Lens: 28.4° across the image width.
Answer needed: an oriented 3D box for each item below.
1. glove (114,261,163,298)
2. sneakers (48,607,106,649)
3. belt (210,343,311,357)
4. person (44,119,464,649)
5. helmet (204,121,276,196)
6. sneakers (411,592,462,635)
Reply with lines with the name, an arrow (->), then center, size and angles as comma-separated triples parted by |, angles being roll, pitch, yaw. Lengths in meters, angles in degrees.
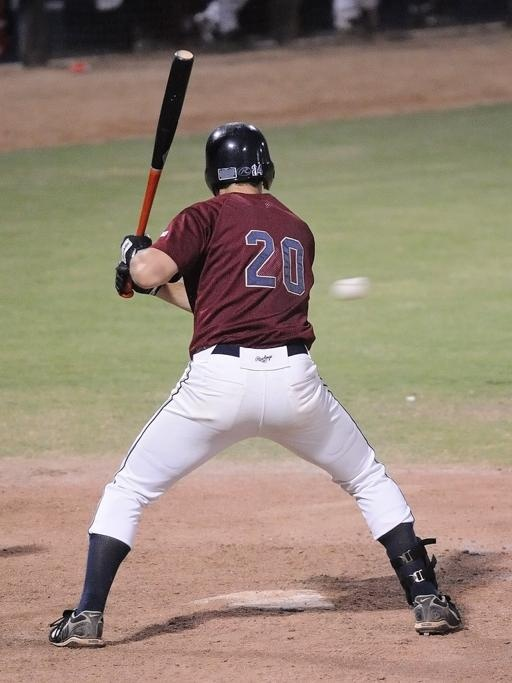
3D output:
glove -> -0.378, -0.191, 3.215 | 0.126, 0.050, 0.151 | -3, -3, -32
sneakers -> -0.545, 0.882, 3.138 | 0.107, 0.079, 0.238 | 6, -7, -33
belt -> 0.029, 0.025, 3.054 | 0.311, 0.035, 0.083 | -2, 13, -22
person -> -0.020, 0.184, 3.218 | 1.230, 1.645, 0.733 | 1, 16, -9
helmet -> -0.056, -0.618, 3.410 | 0.284, 0.211, 0.287 | -7, 17, 0
sneakers -> 0.562, 0.855, 3.164 | 0.099, 0.072, 0.212 | -2, -3, 16
